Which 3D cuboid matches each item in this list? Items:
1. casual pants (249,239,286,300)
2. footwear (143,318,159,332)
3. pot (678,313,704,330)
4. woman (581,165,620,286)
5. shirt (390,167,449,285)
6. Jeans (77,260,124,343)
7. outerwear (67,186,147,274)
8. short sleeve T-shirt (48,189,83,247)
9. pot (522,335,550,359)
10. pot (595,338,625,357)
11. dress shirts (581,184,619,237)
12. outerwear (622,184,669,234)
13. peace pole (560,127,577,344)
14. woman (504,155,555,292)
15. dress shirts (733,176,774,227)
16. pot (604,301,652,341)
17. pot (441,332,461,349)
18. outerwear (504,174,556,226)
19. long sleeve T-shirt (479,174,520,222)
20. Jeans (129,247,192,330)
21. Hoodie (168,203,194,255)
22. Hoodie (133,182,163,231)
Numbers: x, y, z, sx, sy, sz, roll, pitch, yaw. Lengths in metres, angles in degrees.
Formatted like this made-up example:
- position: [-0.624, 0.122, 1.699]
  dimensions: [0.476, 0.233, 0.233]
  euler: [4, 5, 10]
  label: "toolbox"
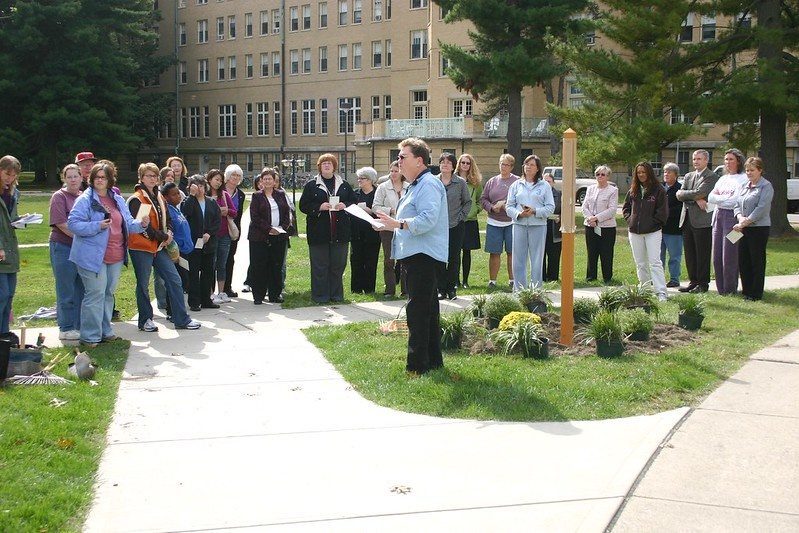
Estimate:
- position: [-2.485, 0.030, 17.759]
  dimensions: [0.601, 1.350, 0.423]
  euler: [-2, 24, -14]
  label: "casual pants"
- position: [-4.107, 0.947, 15.613]
  dimensions: [0.140, 0.137, 0.277]
  euler: [-1, 3, -42]
  label: "footwear"
- position: [4.714, 0.846, 15.407]
  dimensions: [0.286, 0.181, 0.289]
  euler: [1, 1, 0]
  label: "pot"
- position: [4.105, -0.872, 19.694]
  dimensions: [1.054, 2.354, 1.073]
  euler: [1, 12, 6]
  label: "woman"
- position: [0.284, -0.724, 13.445]
  dimensions: [0.775, 1.332, 0.415]
  euler: [0, 2, -3]
  label: "shirt"
- position: [-4.717, 0.387, 14.872]
  dimensions: [0.562, 1.585, 0.690]
  euler: [3, 7, 13]
  label: "Jeans"
- position: [-4.650, -0.643, 14.903]
  dimensions: [0.894, 1.205, 1.102]
  euler: [6, 5, 36]
  label: "outerwear"
- position: [-5.278, -0.779, 15.001]
  dimensions: [0.517, 0.961, 0.855]
  euler: [3, 7, 7]
  label: "short sleeve T-shirt"
- position: [2.025, 1.178, 14.132]
  dimensions: [0.301, 0.226, 0.315]
  euler: [-1, -3, 0]
  label: "pot"
- position: [3.120, 1.168, 14.097]
  dimensions: [0.293, 0.190, 0.287]
  euler: [0, -1, 0]
  label: "pot"
- position: [4.141, -1.216, 19.621]
  dimensions: [0.664, 1.015, 0.532]
  euler: [0, 2, 9]
  label: "dress shirts"
- position: [4.619, -1.089, 17.668]
  dimensions: [0.548, 1.053, 0.923]
  euler: [13, -11, -40]
  label: "outerwear"
- position: [2.518, -0.405, 14.229]
  dimensions: [0.177, 3.226, 0.493]
  euler: [0, 2, 7]
  label: "peace pole"
- position: [2.371, -0.728, 17.561]
  dimensions: [0.835, 2.657, 0.846]
  euler: [2, 4, 24]
  label: "woman"
- position: [6.529, -1.195, 17.491]
  dimensions: [0.621, 0.871, 0.405]
  euler: [1, 2, 20]
  label: "dress shirts"
- position: [3.608, 0.834, 14.860]
  dimensions: [0.601, 0.438, 0.589]
  euler: [-2, 4, 0]
  label: "pot"
- position: [0.780, 1.114, 14.503]
  dimensions: [0.247, 0.188, 0.250]
  euler: [1, 0, 0]
  label: "pot"
- position: [2.486, -1.178, 17.737]
  dimensions: [1.211, 1.222, 0.744]
  euler: [1, -4, 20]
  label: "outerwear"
- position: [2.056, -1.360, 18.823]
  dimensions: [0.962, 0.952, 0.595]
  euler: [3, 6, 14]
  label: "long sleeve T-shirt"
- position: [-4.034, 0.043, 15.822]
  dimensions: [0.918, 2.064, 0.646]
  euler: [-6, -17, -13]
  label: "Jeans"
- position: [-3.800, -0.665, 16.354]
  dimensions: [0.391, 0.763, 0.754]
  euler: [-6, 11, -3]
  label: "Hoodie"
- position: [-4.109, -0.956, 15.377]
  dimensions: [0.432, 0.842, 0.698]
  euler: [0, 9, 11]
  label: "Hoodie"
